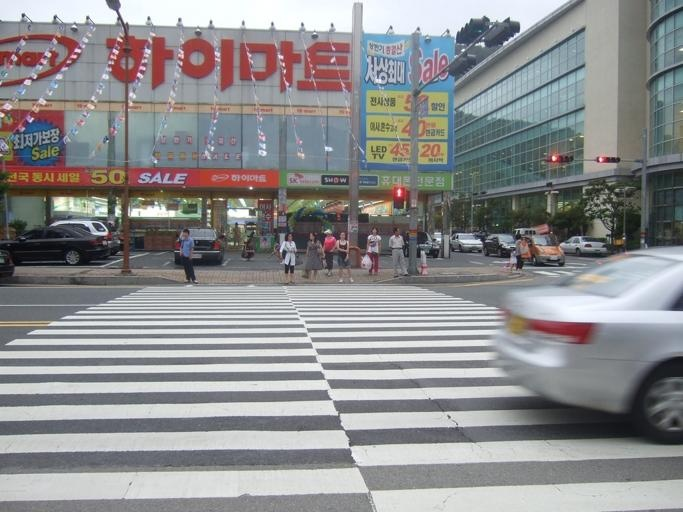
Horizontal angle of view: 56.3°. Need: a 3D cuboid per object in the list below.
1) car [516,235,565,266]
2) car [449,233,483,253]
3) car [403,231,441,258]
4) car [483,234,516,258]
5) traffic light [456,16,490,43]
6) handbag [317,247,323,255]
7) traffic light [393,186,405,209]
[{"bbox_3d":[10.698,-0.266,33.954,1.643,1.367,2.788,-1,0,-5],"label":"car"},{"bbox_3d":[9.704,-0.971,49.525,1.289,0.990,2.886,0,8,-4],"label":"car"},{"bbox_3d":[5.251,-0.746,37.979,1.547,1.380,2.687,1,-2,-7],"label":"car"},{"bbox_3d":[10.521,-0.636,41.836,1.377,1.293,2.940,0,-1,-11],"label":"car"},{"bbox_3d":[3.556,-5.986,16.905,0.826,0.464,1.963,2,5,8],"label":"traffic light"},{"bbox_3d":[-0.705,-0.163,22.090,0.167,0.174,0.214,-3,-27,-6],"label":"handbag"},{"bbox_3d":[2.162,-2.130,23.456,0.450,0.829,0.724,1,5,4],"label":"traffic light"}]
